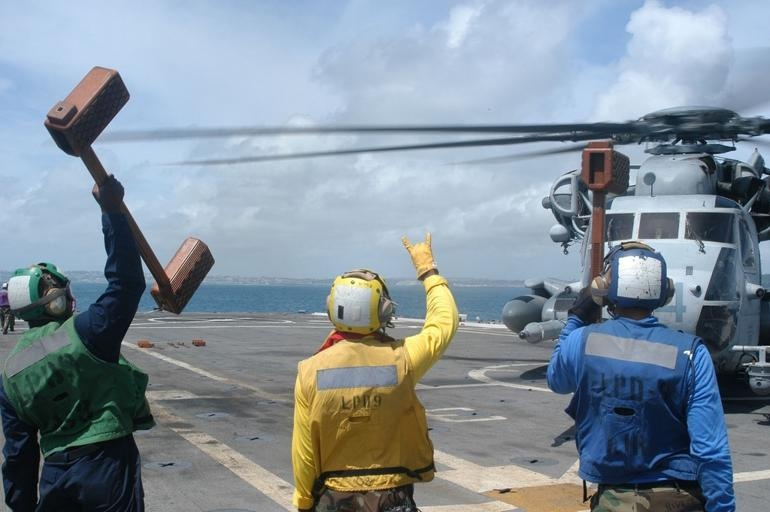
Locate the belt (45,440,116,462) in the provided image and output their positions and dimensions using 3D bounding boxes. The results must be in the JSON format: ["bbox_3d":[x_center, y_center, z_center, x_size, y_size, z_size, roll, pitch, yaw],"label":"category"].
[{"bbox_3d":[-2.517,1.622,5.254,0.266,0.052,0.246,-20,4,13],"label":"belt"}]

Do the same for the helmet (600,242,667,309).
[{"bbox_3d":[2.095,0.136,5.516,0.540,0.482,0.595,6,20,2],"label":"helmet"}]

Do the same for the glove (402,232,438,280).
[{"bbox_3d":[0.282,0.016,5.029,0.336,0.354,0.202,-12,-9,-1],"label":"glove"}]
